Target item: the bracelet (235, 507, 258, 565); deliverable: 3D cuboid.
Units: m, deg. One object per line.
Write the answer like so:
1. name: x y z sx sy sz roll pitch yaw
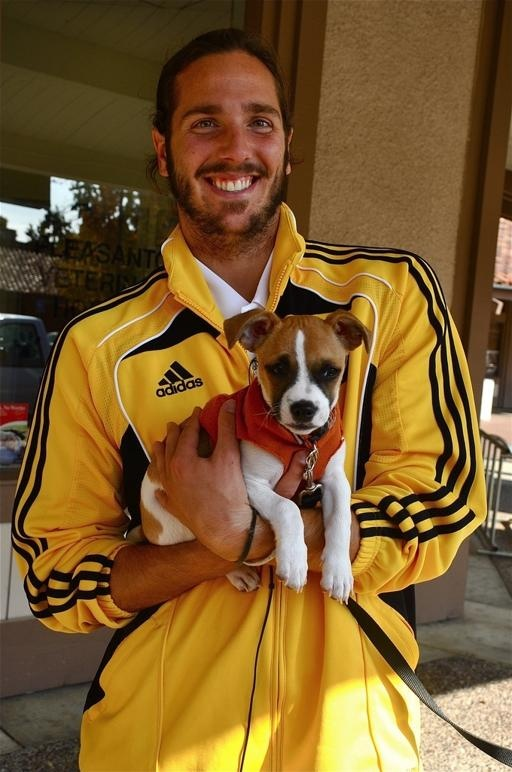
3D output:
1. bracelet: -0.025 0.353 1.481 0.026 0.093 0.102 17 44 -13

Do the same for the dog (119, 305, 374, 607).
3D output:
1. dog: 0.077 0.134 1.604 0.435 0.644 0.501 0 7 -5
